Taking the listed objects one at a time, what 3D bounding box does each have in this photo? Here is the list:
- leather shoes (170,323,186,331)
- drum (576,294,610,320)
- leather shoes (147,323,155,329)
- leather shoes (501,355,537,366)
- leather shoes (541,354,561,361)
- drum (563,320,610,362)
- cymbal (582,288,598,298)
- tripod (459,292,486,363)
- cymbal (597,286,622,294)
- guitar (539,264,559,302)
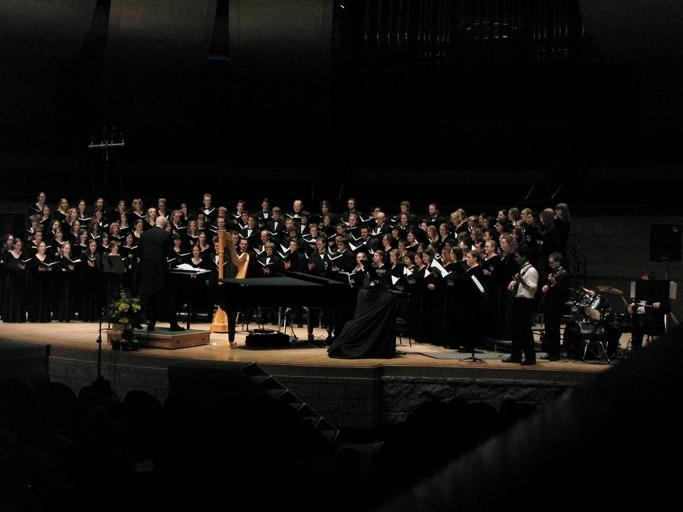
[{"bbox_3d":[-2.187,0.927,9.382,0.190,0.114,0.643,4,-4,-13],"label":"leather shoes"},{"bbox_3d":[2.872,0.580,8.107,0.289,0.304,0.429,5,-5,-31],"label":"drum"},{"bbox_3d":[-2.485,0.895,9.200,0.098,0.121,0.410,4,-4,-16],"label":"leather shoes"},{"bbox_3d":[1.947,1.158,7.736,0.356,0.139,0.107,11,-8,-1],"label":"leather shoes"},{"bbox_3d":[2.360,1.159,8.024,0.232,0.093,0.077,4,-4,23],"label":"leather shoes"},{"bbox_3d":[2.741,0.972,8.037,0.529,0.457,0.435,5,-9,-33],"label":"drum"},{"bbox_3d":[3.128,0.458,8.902,0.181,0.067,0.270,5,10,4],"label":"cymbal"},{"bbox_3d":[1.587,0.794,8.634,0.285,0.799,0.790,3,-4,10],"label":"tripod"},{"bbox_3d":[3.770,0.470,9.963,0.255,0.051,0.247,-3,10,-34],"label":"cymbal"},{"bbox_3d":[2.354,0.303,7.844,0.228,0.463,0.210,0,-5,37],"label":"guitar"}]
